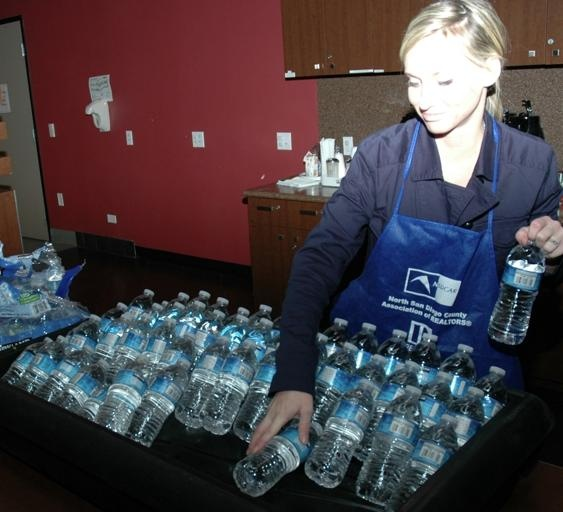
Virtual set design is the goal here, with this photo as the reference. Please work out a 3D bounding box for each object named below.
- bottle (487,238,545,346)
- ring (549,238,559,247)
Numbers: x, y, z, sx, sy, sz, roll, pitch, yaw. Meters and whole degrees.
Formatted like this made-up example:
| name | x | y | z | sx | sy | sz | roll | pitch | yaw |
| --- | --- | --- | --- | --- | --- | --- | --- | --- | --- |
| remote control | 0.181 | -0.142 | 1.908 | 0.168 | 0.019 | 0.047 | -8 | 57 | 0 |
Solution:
| name | x | y | z | sx | sy | sz | roll | pitch | yaw |
| --- | --- | --- | --- | --- | --- | --- | --- | --- | --- |
| bottle | 0.629 | 0.079 | 1.207 | 0.084 | 0.328 | 0.089 | 0 | 28 | 0 |
| ring | 0.636 | -0.033 | 1.060 | 0.018 | 0.015 | 0.007 | -9 | 15 | -14 |
